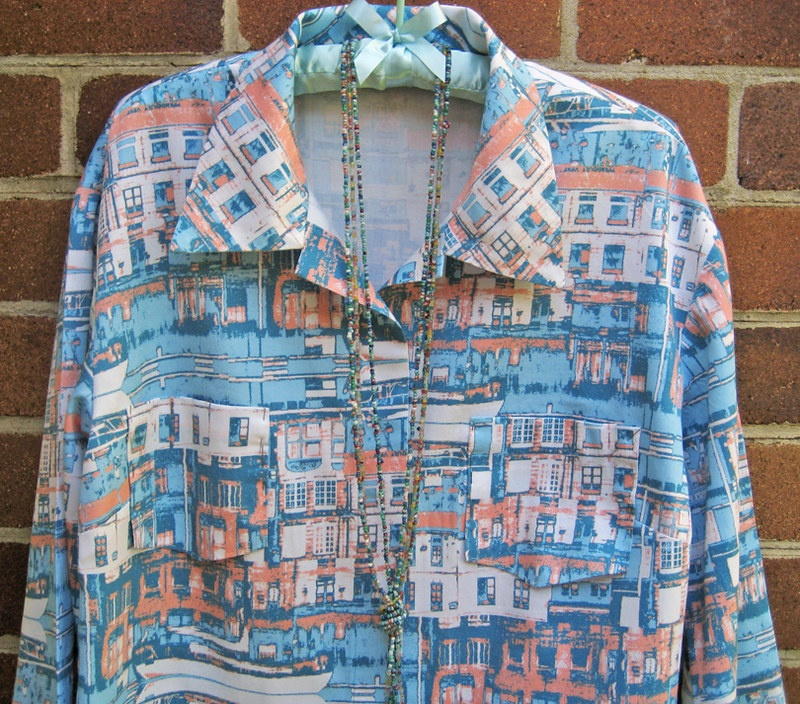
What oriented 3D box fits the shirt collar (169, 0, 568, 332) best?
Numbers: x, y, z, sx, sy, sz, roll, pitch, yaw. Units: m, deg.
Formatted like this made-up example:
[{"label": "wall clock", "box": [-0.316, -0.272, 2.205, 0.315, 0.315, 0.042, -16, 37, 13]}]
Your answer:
[{"label": "shirt collar", "box": [-0.043, -0.237, 2.976, 0.550, 0.380, 0.072, 1, 9, 1]}]
